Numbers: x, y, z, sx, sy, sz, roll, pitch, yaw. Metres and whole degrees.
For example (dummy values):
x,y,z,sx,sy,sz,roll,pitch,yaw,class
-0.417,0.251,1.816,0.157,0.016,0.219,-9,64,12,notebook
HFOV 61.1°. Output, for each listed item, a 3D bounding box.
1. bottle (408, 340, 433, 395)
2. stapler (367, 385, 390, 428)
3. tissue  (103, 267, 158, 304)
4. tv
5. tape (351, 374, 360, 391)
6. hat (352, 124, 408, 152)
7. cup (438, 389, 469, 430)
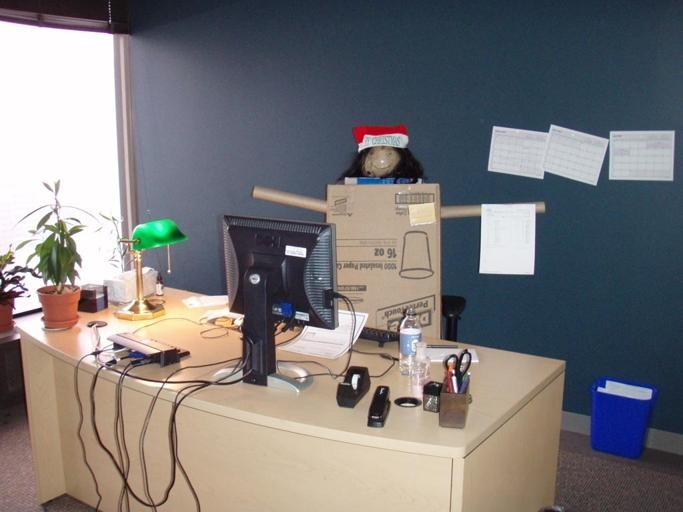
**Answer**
x,y,z,sx,sy,sz,roll,pitch,yaw,class
0.355,0.493,2.622,0.089,0.224,0.240,2,8,8,bottle
0.152,0.624,2.368,0.054,0.072,0.193,1,13,6,stapler
-1.351,0.102,3.645,0.200,0.215,0.305,10,17,25,tissue 
-0.300,0.242,2.692,0.653,0.811,0.287,8,17,26,tv
0.057,0.539,2.502,0.046,0.084,0.045,0,-14,14,tape
0.241,-0.759,3.709,0.320,0.177,0.243,8,11,43,hat
0.451,0.614,2.319,0.122,0.179,0.176,5,15,11,cup
